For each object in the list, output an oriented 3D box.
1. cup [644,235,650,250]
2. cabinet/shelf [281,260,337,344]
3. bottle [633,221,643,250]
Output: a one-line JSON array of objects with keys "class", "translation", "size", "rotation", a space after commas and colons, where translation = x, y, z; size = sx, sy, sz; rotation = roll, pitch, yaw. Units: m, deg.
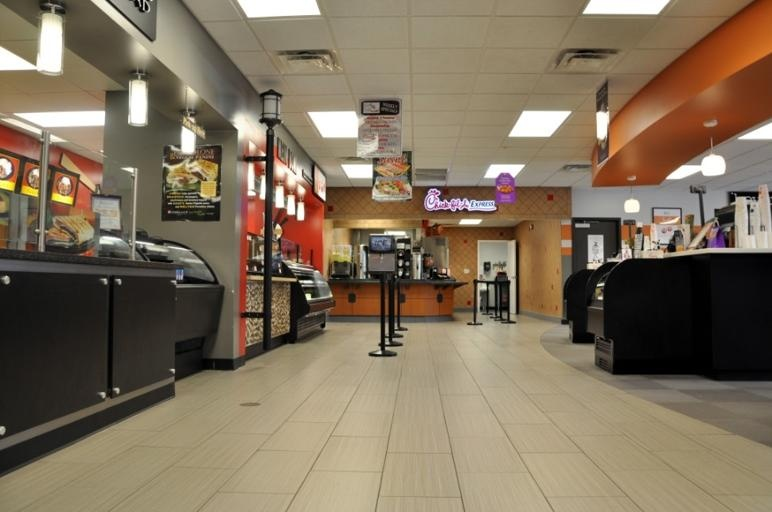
[{"class": "cup", "translation": [3.616, -0.174, 7.336], "size": [0.085, 0.175, 0.394], "rotation": [2, 5, 25]}, {"class": "cabinet/shelf", "translation": [-1.330, 0.826, 9.102], "size": [0.400, 0.940, 1.398], "rotation": [-2, -2, 3]}, {"class": "bottle", "translation": [3.679, -0.280, 7.684], "size": [0.126, 0.395, 0.668], "rotation": [2, 5, 25]}]
